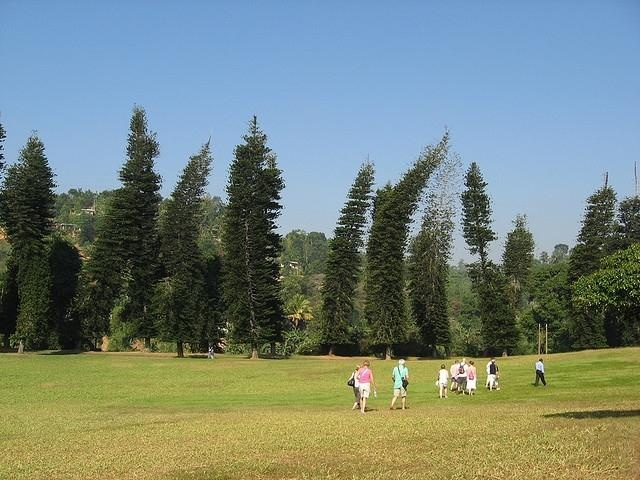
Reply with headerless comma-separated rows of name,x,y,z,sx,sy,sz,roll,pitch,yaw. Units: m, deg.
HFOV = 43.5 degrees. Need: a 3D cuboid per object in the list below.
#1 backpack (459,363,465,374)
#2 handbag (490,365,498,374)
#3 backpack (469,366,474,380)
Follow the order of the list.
backpack,9.321,8.371,52.192,0.363,0.563,0.516,-1,25,19
handbag,11.583,8.580,53.092,0.708,0.648,0.330,13,-18,-40
backpack,9.786,8.513,51.369,0.516,0.853,0.194,9,-16,-32
